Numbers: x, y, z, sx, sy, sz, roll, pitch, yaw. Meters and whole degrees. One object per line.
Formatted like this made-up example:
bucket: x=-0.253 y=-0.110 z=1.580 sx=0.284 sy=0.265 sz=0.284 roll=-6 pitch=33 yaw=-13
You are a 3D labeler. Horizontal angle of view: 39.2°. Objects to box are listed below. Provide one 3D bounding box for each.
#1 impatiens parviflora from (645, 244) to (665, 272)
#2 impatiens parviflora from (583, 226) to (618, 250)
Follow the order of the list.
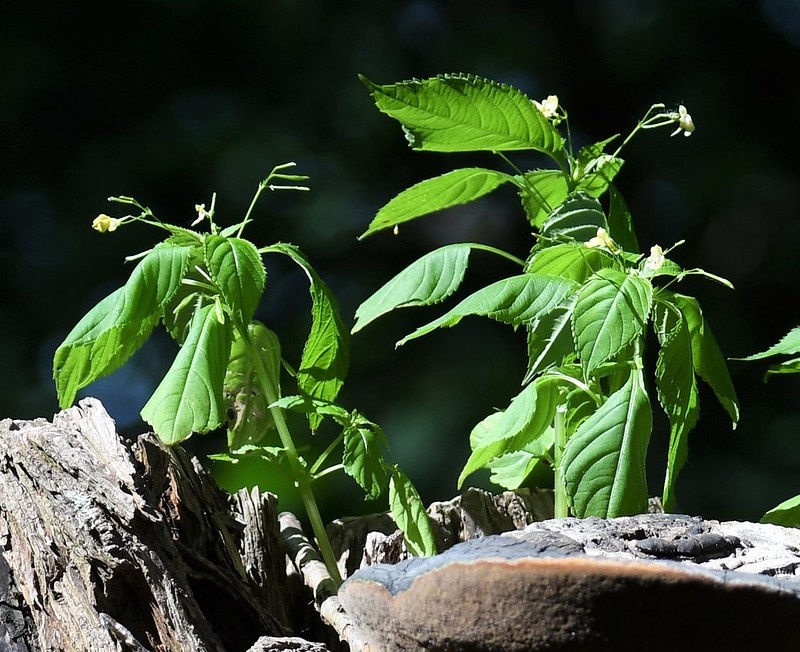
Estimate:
impatiens parviflora: x=0.405 y=-0.114 z=1.788 sx=0.025 sy=0.044 sz=0.018 roll=2 pitch=-18 yaw=46
impatiens parviflora: x=0.322 y=-0.133 z=1.796 sx=0.044 sy=0.041 sz=0.094 roll=-24 pitch=0 yaw=16
